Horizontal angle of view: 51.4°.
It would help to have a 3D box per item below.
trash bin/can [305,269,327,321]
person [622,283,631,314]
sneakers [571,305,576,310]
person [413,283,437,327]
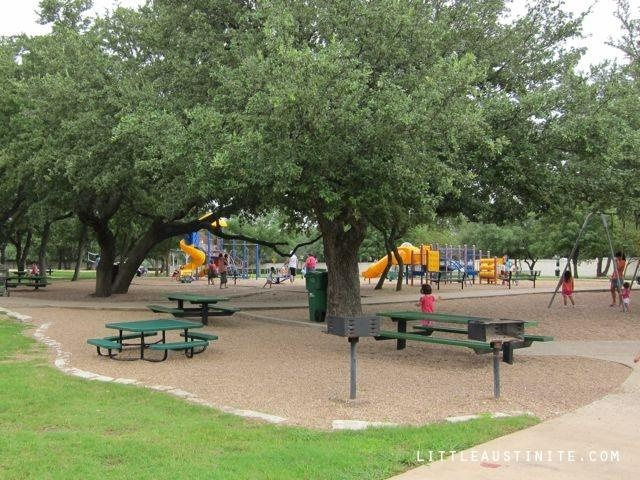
[{"bbox_3d":[-0.144,1.722,20.319,0.689,1.489,0.900,1,1,-1],"label":"trash bin/can"},{"bbox_3d":[10.575,1.980,22.967,0.234,0.929,1.192,1,1,24],"label":"person"},{"bbox_3d":[9.358,2.494,24.565,0.136,0.145,0.137,2,5,38],"label":"sneakers"},{"bbox_3d":[2.715,1.686,17.093,0.518,1.179,0.396,-10,20,-22],"label":"person"}]
